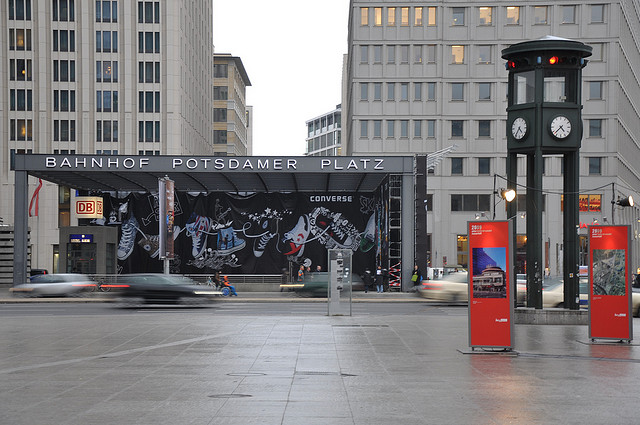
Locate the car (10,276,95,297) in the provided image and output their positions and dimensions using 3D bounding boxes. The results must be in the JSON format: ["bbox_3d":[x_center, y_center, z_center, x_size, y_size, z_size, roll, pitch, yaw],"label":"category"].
[{"bbox_3d":[-16.069,4.915,50.039,6.461,1.740,2.618,1,-3,2],"label":"car"}]

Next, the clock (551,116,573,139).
[{"bbox_3d":[9.772,-3.442,33.385,0.846,0.896,0.147,1,-5,-12],"label":"clock"}]

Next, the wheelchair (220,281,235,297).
[{"bbox_3d":[-6.042,5.192,53.034,0.682,0.640,0.704,2,-11,33],"label":"wheelchair"}]

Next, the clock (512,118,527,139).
[{"bbox_3d":[8.166,-3.453,33.765,0.070,0.653,0.649,16,23,-31],"label":"clock"}]

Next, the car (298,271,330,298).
[{"bbox_3d":[-0.462,4.560,50.615,1.423,1.527,6.112,0,-5,-5],"label":"car"}]
